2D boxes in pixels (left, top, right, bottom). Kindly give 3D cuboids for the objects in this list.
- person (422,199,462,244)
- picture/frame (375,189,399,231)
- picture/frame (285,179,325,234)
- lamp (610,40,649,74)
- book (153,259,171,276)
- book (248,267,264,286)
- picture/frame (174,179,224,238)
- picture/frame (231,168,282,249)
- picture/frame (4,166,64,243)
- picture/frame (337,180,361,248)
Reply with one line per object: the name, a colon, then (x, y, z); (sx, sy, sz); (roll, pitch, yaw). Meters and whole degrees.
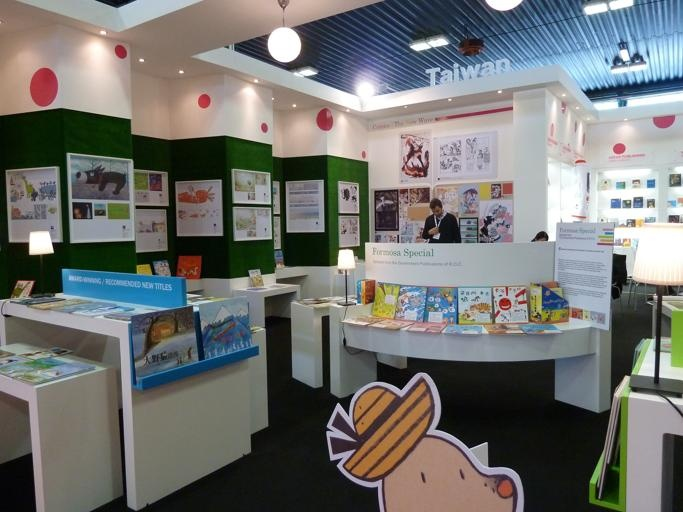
person: (1.357, -0.465, 6.891); (0.421, 0.667, 0.722); (-5, 11, -20)
picture/frame: (0.972, -0.990, 10.441); (0.693, 1.111, 0.077); (6, 9, 35)
picture/frame: (-0.636, -0.934, 9.403); (0.906, 1.292, 0.050); (0, -1, 22)
lamp: (5.743, -3.924, 10.108); (0.805, 0.839, 0.436); (10, 22, 43)
book: (-2.734, 0.178, 7.662); (0.248, 0.214, 0.331); (8, 15, 41)
book: (-1.332, 0.334, 8.039); (0.148, 0.293, 0.329); (4, 12, 30)
picture/frame: (-2.148, -0.763, 7.724); (0.779, 0.956, 0.035); (3, 2, 24)
picture/frame: (-1.382, -0.788, 7.941); (0.164, 1.174, 0.902); (4, 11, 29)
picture/frame: (-3.532, -0.610, 5.830); (0.799, 1.056, 0.075); (0, 1, 19)
picture/frame: (0.160, -0.811, 9.857); (0.166, 1.318, 0.824); (3, 11, 25)
